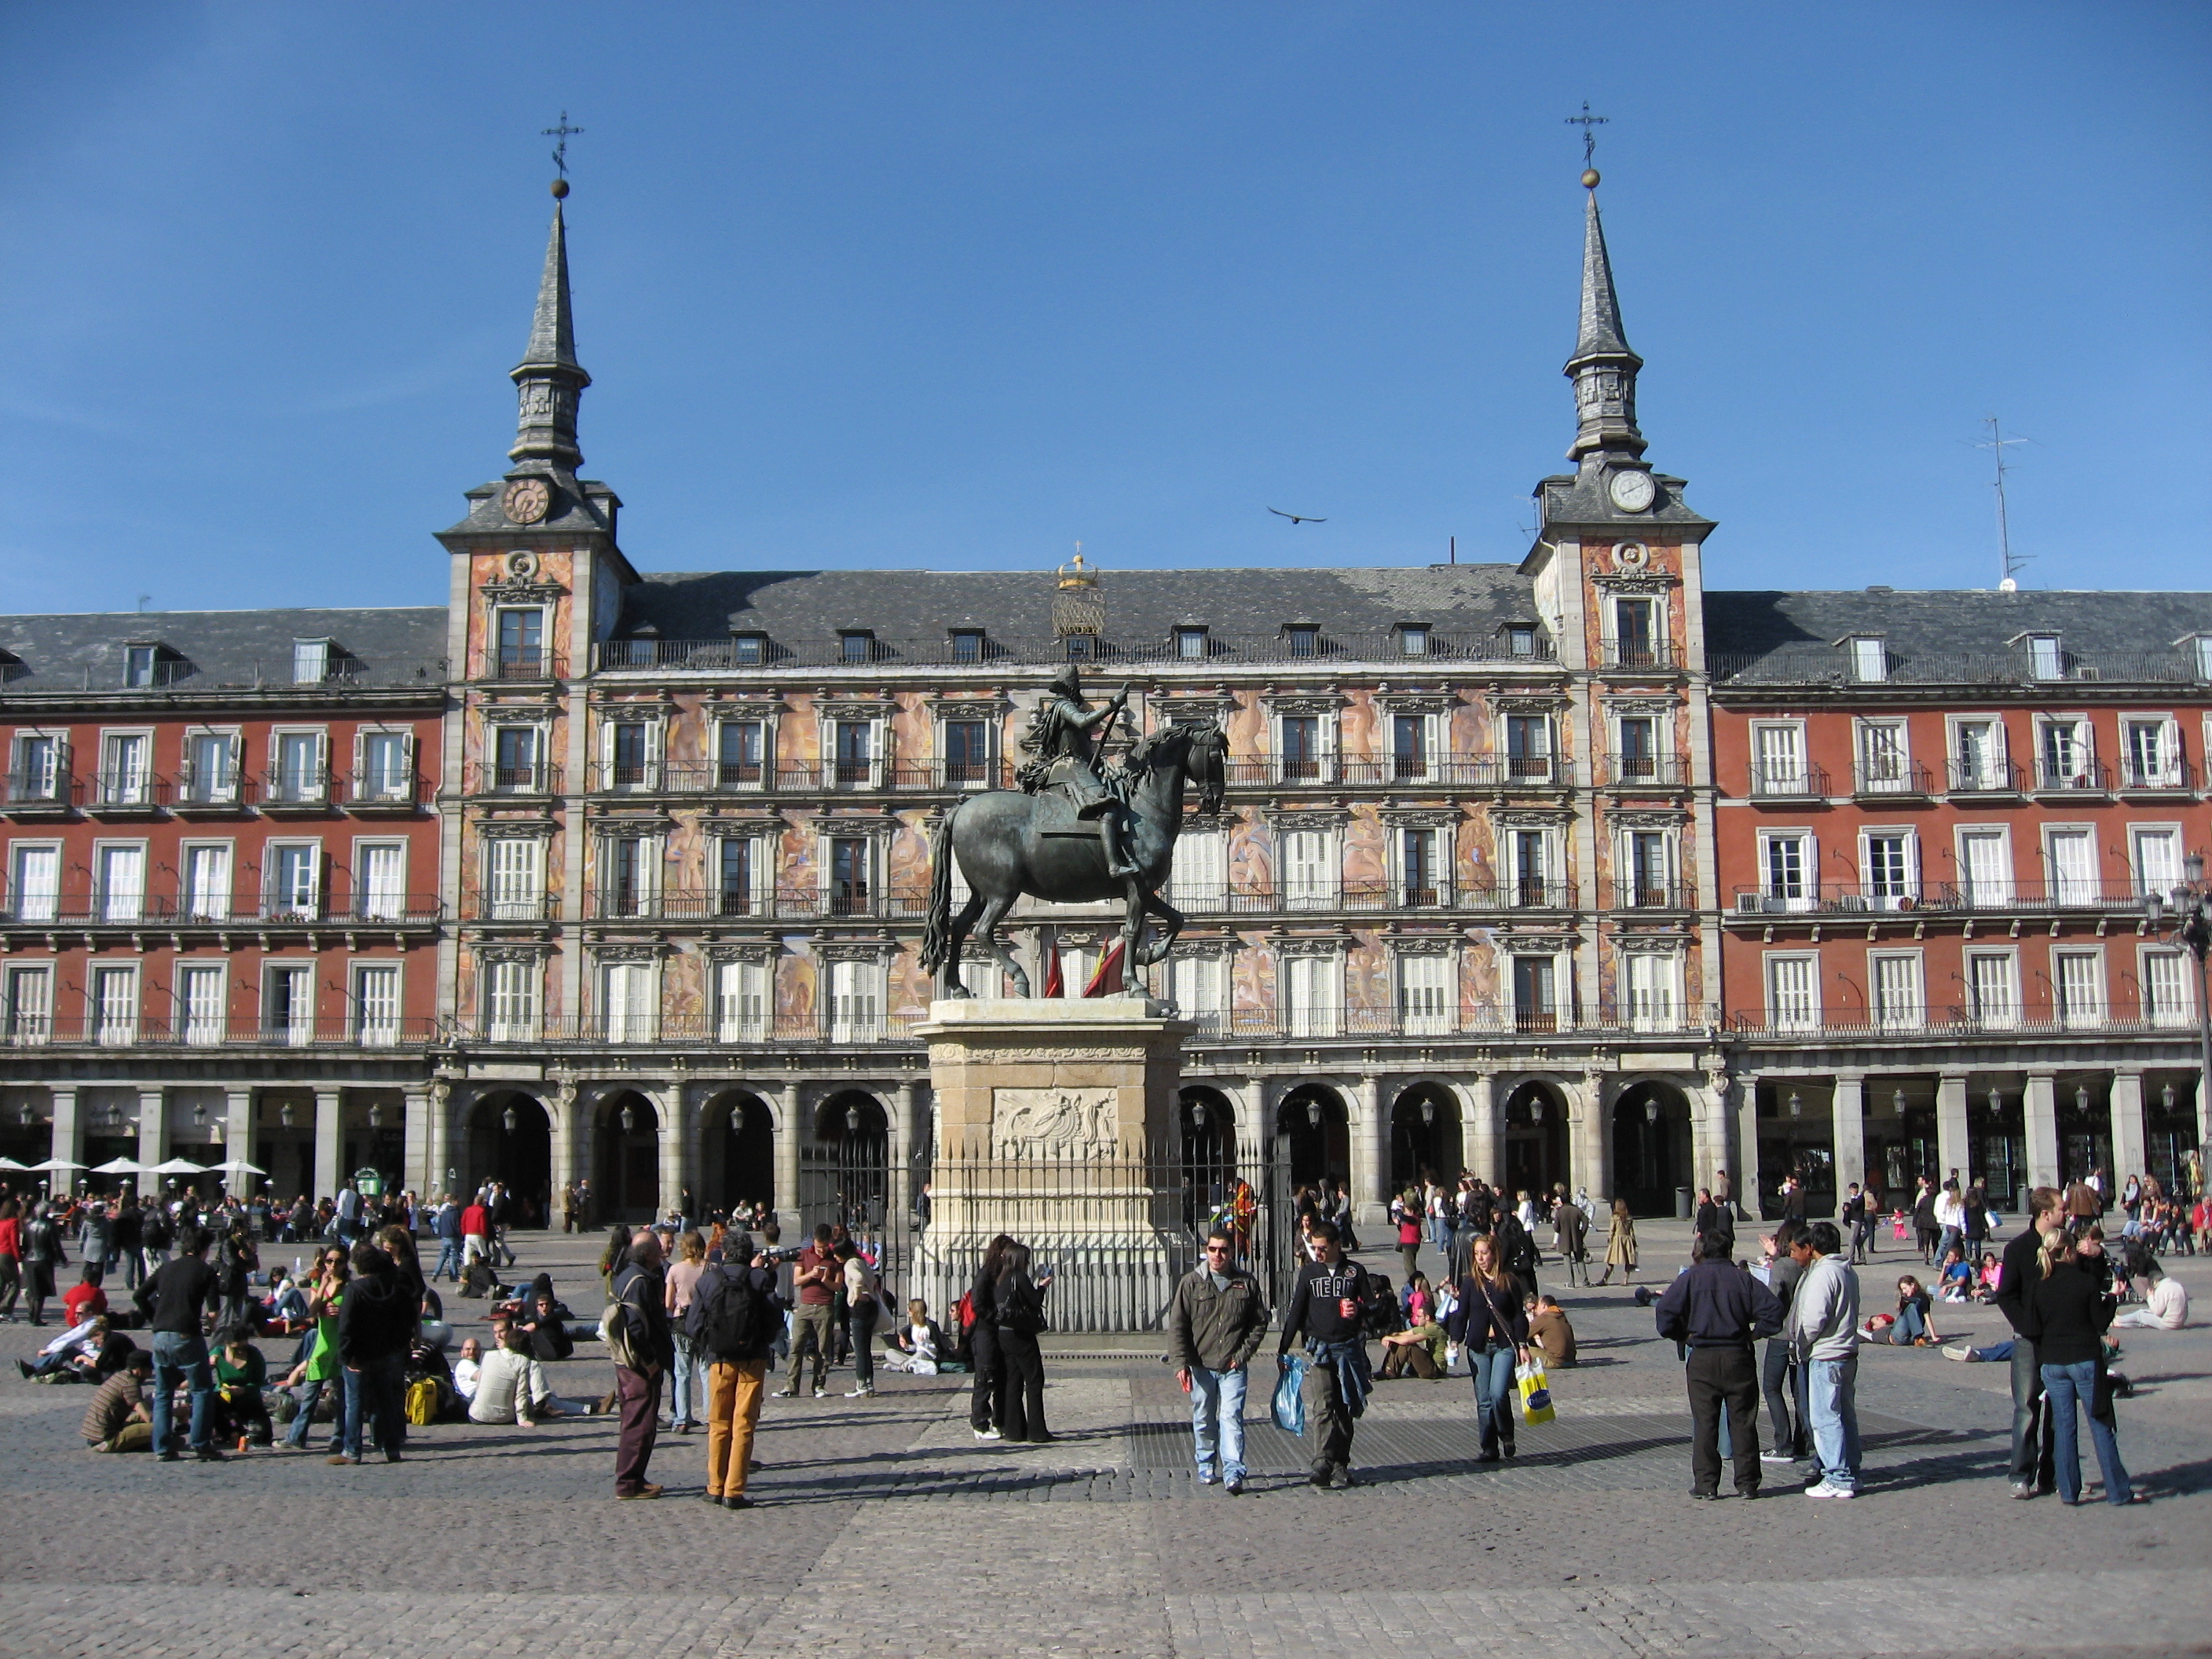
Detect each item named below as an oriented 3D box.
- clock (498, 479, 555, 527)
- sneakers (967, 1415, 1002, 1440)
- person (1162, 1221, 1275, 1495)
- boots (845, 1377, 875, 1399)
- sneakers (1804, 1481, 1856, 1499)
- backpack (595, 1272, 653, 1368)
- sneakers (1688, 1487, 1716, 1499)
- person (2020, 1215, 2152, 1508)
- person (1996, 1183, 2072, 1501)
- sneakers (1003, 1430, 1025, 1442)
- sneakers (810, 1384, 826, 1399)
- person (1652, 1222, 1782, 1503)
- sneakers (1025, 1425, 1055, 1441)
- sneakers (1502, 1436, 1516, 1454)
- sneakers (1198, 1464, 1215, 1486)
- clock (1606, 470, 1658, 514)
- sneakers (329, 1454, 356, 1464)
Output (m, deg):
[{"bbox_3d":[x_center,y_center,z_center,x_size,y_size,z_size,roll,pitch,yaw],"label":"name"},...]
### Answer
[{"bbox_3d":[-14.823,-8.328,76.157,1.139,1.160,1.163,-2,-4,5],"label":"clock"},{"bbox_3d":[-1.393,6.895,33.930,0.364,0.229,0.143,-4,-9,24],"label":"sneakers"},{"bbox_3d":[1.201,5.676,31.894,1.005,2.874,0.986,-3,-6,1],"label":"person"},{"bbox_3d":[-3.096,7.044,37.146,0.363,0.264,0.132,0,-15,17],"label":"boots"},{"bbox_3d":[7.664,7.076,31.602,0.472,0.238,0.190,5,-15,12],"label":"sneakers"},{"bbox_3d":[-5.121,5.317,31.859,0.574,0.912,0.370,-8,-8,43],"label":"backpack"},{"bbox_3d":[6.315,7.075,31.598,0.227,0.122,0.095,-4,-6,12],"label":"sneakers"},{"bbox_3d":[10.122,5.655,31.250,0.931,2.920,0.641,-2,-6,-5],"label":"person"},{"bbox_3d":[9.856,5.578,31.779,0.810,3.134,1.128,5,-3,24],"label":"person"},{"bbox_3d":[-1.044,6.892,33.692,0.247,0.148,0.105,-2,-6,-4],"label":"sneakers"},{"bbox_3d":[-3.585,7.044,37.100,0.132,0.140,0.143,5,-11,-31],"label":"sneakers"},{"bbox_3d":[6.573,5.733,31.988,1.208,2.878,0.973,-4,-6,13],"label":"person"},{"bbox_3d":[-0.753,6.882,33.765,0.171,0.170,0.320,-7,-7,33],"label":"sneakers"},{"bbox_3d":[4.477,6.951,33.336,0.082,0.247,0.163,-2,-2,-2],"label":"sneakers"},{"bbox_3d":[1.059,6.994,32.022,0.132,0.176,0.254,2,-26,-3],"label":"sneakers"},{"bbox_3d":[13.430,-8.584,76.293,1.336,1.319,0.914,-2,-6,-3],"label":"clock"},{"bbox_3d":[-8.611,7.140,33.597,0.296,0.126,0.111,-3,-11,10],"label":"sneakers"}]
